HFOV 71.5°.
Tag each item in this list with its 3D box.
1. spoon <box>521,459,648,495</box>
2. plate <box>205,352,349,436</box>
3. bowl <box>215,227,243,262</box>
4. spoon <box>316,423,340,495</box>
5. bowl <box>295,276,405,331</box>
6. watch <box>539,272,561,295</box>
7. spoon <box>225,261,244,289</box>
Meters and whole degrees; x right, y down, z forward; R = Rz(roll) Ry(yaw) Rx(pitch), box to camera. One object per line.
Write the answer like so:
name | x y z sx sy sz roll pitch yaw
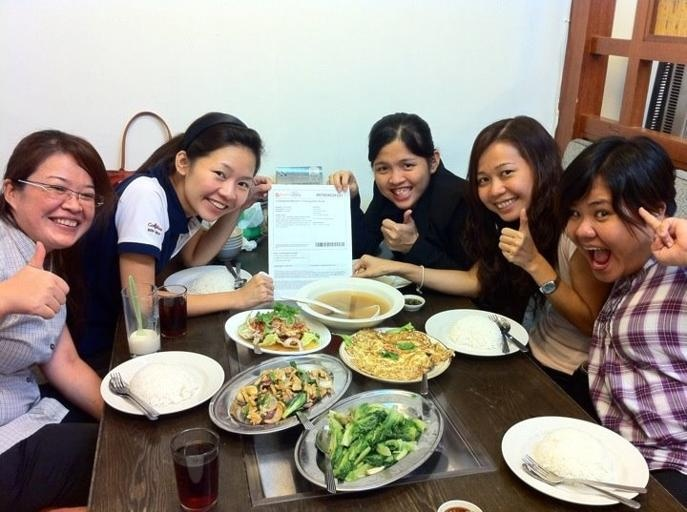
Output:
spoon | 0.640 0.594 1.285 0.209 0.038 0.033 10 19 19
plate | -0.229 0.431 1.546 0.274 0.046 0.236 -16 30 -38
bowl | -0.631 -0.073 2.692 0.149 0.118 0.172 3 16 10
spoon | -0.046 0.544 1.285 0.060 0.034 0.256 15 13 -11
bowl | 0.047 0.180 2.064 0.260 0.070 0.262 -1 29 0
watch | 0.918 0.123 2.187 0.057 0.099 0.090 37 33 23
spoon | -0.532 0.087 2.356 0.065 0.037 0.251 -8 20 -10
